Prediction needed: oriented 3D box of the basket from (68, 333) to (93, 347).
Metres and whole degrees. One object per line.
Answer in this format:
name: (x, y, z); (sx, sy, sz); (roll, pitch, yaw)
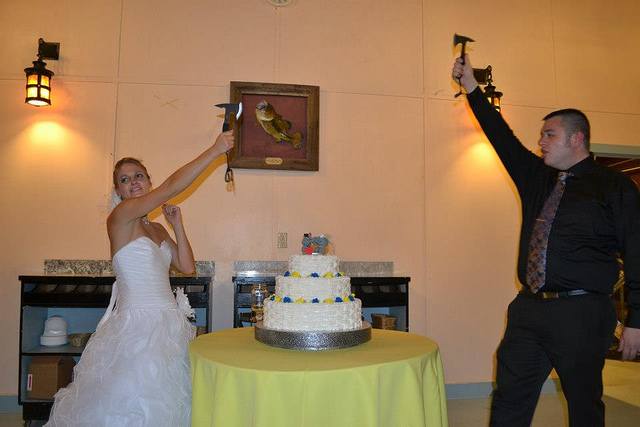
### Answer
basket: (-2.489, 1.298, 6.143); (0.163, 0.058, 0.170); (1, -4, 11)

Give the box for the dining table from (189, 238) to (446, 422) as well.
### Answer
dining table: (0.021, 0.762, 4.447); (1.426, 1.059, 1.408); (0, 0, -44)

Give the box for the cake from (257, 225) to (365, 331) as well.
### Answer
cake: (-0.063, 0.548, 4.858); (0.817, 0.799, 0.861); (2, -3, -10)

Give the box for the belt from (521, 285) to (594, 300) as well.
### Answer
belt: (1.878, 0.634, 4.746); (0.511, 0.100, 0.104); (-2, -4, 18)

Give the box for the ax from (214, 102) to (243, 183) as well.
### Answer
ax: (-0.696, -0.512, 4.587); (0.182, 0.649, 0.174); (5, 1, 42)

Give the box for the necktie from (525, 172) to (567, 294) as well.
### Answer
necktie: (1.803, 0.159, 4.821); (0.118, 1.023, 0.174); (7, 6, -24)
